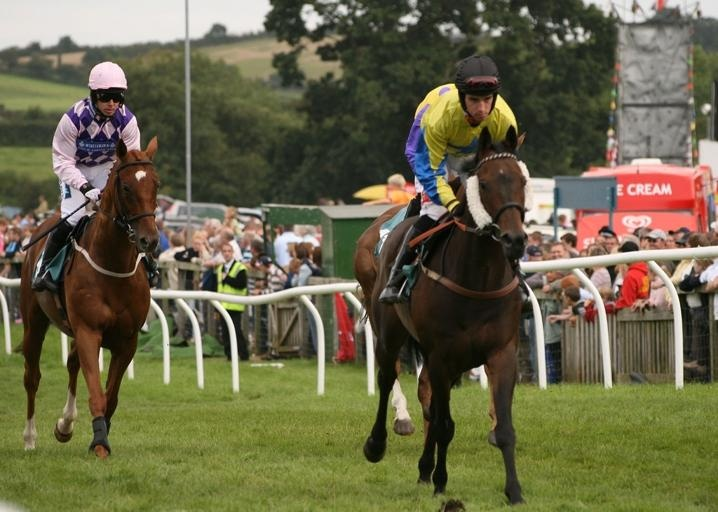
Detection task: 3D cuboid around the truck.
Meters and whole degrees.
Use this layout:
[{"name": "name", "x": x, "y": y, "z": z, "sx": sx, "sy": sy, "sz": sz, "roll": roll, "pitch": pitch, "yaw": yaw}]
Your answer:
[{"name": "truck", "x": 4.138, "y": -0.694, "z": 20.993, "sx": 1.190, "sy": 0.932, "sz": 1.617, "roll": -1, "pitch": -3, "yaw": 16}]

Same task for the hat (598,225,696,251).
[{"name": "hat", "x": 3.384, "y": -0.220, "z": 18.510, "sx": 0.671, "sy": 0.309, "sz": 0.423, "roll": 1, "pitch": -15, "yaw": 4}]

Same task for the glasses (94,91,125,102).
[{"name": "glasses", "x": -2.624, "y": -1.670, "z": 15.792, "sx": 0.333, "sy": 0.112, "sz": 0.157, "roll": 0, "pitch": -1, "yaw": -23}]

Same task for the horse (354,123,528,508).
[{"name": "horse", "x": 0.826, "y": 0.566, "z": 14.664, "sx": 0.912, "sy": 3.524, "sz": 2.149, "roll": 0, "pitch": -1, "yaw": -29}]

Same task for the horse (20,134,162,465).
[{"name": "horse", "x": -2.755, "y": 0.423, "z": 15.625, "sx": 1.756, "sy": 3.249, "sz": 0.666, "roll": 0, "pitch": -1, "yaw": 34}]

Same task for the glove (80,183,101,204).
[{"name": "glove", "x": -2.793, "y": -0.653, "z": 15.719, "sx": 0.160, "sy": 0.260, "sz": 0.110, "roll": -34, "pitch": -27, "yaw": -18}]

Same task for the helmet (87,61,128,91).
[{"name": "helmet", "x": -2.652, "y": -1.889, "z": 15.820, "sx": 0.384, "sy": 0.317, "sz": 0.228, "roll": 0, "pitch": -1, "yaw": -12}]

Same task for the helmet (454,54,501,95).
[{"name": "helmet", "x": 1.134, "y": -1.737, "z": 14.571, "sx": 0.457, "sy": 0.398, "sz": 0.641, "roll": -3, "pitch": -7, "yaw": 3}]

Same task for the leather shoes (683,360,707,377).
[{"name": "leather shoes", "x": 3.689, "y": 1.241, "z": 16.666, "sx": 0.216, "sy": 0.168, "sz": 0.122, "roll": 0, "pitch": -1, "yaw": 32}]

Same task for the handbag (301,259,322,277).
[{"name": "handbag", "x": -0.631, "y": 0.169, "z": 20.168, "sx": 0.173, "sy": 0.239, "sz": 0.254, "roll": 1, "pitch": -9, "yaw": 0}]
